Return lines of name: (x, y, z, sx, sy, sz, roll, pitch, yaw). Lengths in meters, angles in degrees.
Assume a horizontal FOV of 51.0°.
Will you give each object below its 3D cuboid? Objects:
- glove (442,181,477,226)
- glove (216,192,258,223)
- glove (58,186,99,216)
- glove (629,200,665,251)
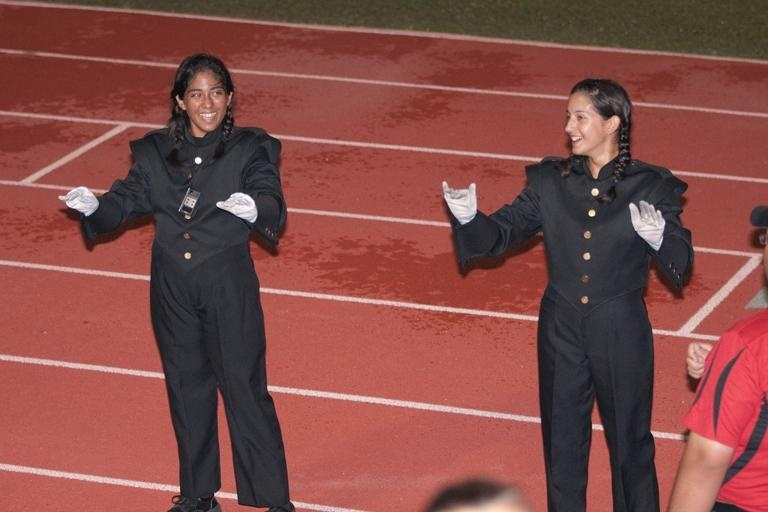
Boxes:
glove: (0.578, -0.405, 6.024, 0.349, 0.366, 0.190, 4, -22, 5)
glove: (-1.033, -0.340, 5.723, 0.271, 0.199, 0.124, 18, 37, -6)
glove: (-2.319, -0.442, 6.058, 0.344, 0.231, 0.144, 16, 29, 5)
glove: (1.843, -0.210, 5.602, 0.250, 0.340, 0.236, 12, 13, 30)
